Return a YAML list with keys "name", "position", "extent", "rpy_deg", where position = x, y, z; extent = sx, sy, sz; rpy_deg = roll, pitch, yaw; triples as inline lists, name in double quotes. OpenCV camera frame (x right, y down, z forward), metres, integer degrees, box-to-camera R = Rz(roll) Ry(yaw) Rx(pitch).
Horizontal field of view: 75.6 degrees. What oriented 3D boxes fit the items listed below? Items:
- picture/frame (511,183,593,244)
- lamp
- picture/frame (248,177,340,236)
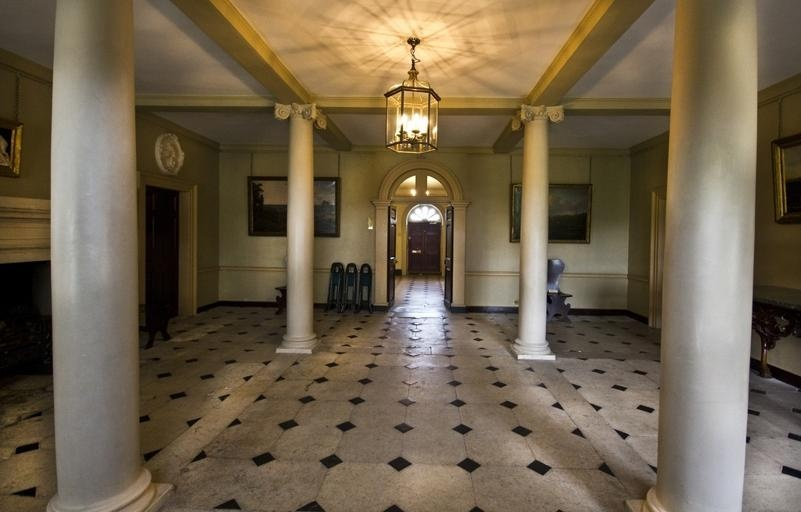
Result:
- name: "picture/frame"
  position: [2.990, -0.844, 9.954]
  extent: [1.442, 1.189, 0.151]
  rpy_deg: [1, -1, -1]
- name: "lamp"
  position: [0.144, -2.041, 6.534]
  extent: [0.657, 1.427, 0.628]
  rpy_deg: [1, 7, 1]
- name: "picture/frame"
  position: [-2.097, -1.038, 10.397]
  extent: [1.490, 1.026, 0.069]
  rpy_deg: [0, 0, -1]
